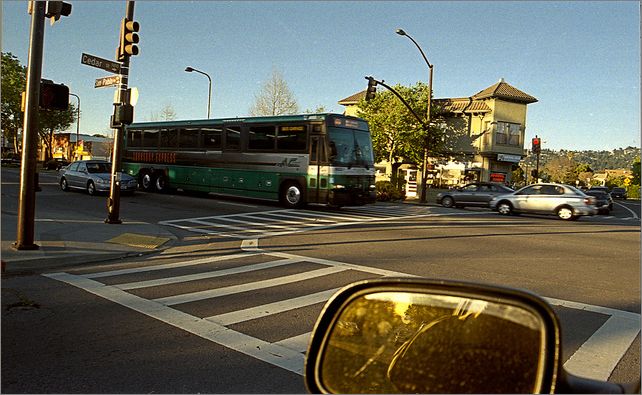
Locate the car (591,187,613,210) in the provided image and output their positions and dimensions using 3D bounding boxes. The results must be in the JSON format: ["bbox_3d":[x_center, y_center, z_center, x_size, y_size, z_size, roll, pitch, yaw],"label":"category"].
[{"bbox_3d":[18.083,0.033,30.188,1.433,1.435,2.604,3,11,32],"label":"car"}]

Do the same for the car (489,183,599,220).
[{"bbox_3d":[11.250,0.125,23.559,3.951,1.399,1.832,5,2,43],"label":"car"}]

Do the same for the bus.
[{"bbox_3d":[-4.883,-2.131,26.429,17.115,4.778,5.119,1,4,34],"label":"bus"}]

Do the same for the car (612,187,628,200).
[{"bbox_3d":[43.287,-0.590,67.869,1.531,1.709,2.579,6,5,41],"label":"car"}]

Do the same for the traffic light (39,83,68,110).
[{"bbox_3d":[-6.552,-2.488,11.428,0.615,0.633,0.685,0,5,-32],"label":"traffic light"}]

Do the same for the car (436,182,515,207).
[{"bbox_3d":[9.129,-0.168,28.362,3.675,1.239,1.605,3,2,38],"label":"car"}]

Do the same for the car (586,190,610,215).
[{"bbox_3d":[15.072,0.288,25.513,1.314,1.159,2.910,-1,-3,27],"label":"car"}]
